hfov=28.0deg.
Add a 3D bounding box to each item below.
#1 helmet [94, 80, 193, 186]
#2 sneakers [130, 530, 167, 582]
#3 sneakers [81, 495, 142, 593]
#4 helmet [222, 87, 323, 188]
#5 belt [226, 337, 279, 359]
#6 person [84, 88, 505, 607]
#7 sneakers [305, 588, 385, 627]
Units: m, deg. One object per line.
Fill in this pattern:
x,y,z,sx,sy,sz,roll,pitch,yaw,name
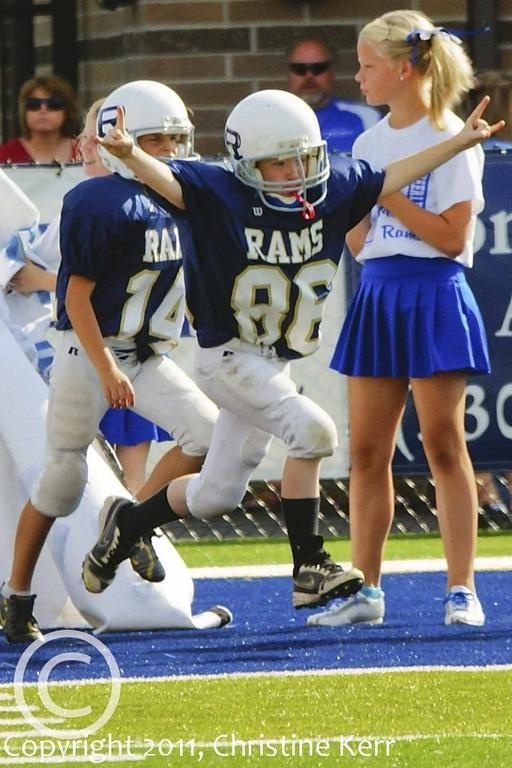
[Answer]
-0.300,-0.642,2.570,0.285,0.233,0.217,14,21,30,helmet
-0.256,0.424,2.491,0.053,0.147,0.067,-23,6,15,sneakers
-0.345,0.396,2.529,0.131,0.272,0.097,11,-6,24,sneakers
0.053,-0.540,2.248,0.187,0.186,0.243,-17,34,-29,helmet
-0.014,-0.078,2.286,0.088,0.022,0.046,10,-1,-12,belt
0.038,-0.091,2.377,0.807,1.205,0.566,-1,-2,-17,person
0.255,0.600,2.736,0.250,0.127,0.082,0,-7,7,sneakers
